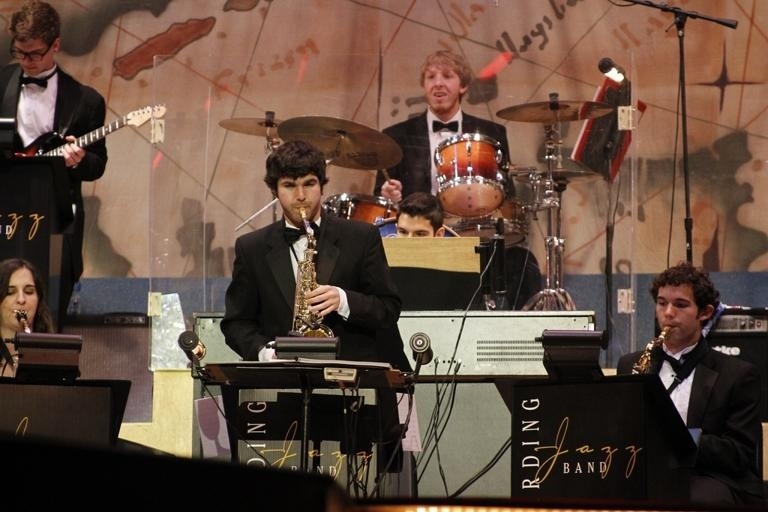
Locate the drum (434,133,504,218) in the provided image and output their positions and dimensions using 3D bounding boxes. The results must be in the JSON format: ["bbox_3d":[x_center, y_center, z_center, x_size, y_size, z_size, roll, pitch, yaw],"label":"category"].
[{"bbox_3d":[0.720,-0.588,9.447,0.622,0.578,0.633,-11,-39,16],"label":"drum"}]

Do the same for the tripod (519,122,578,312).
[{"bbox_3d":[1.323,-0.338,9.225,0.390,1.530,0.881,2,-3,8],"label":"tripod"}]

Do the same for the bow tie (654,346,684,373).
[{"bbox_3d":[1.861,0.686,7.705,0.138,0.160,0.120,-2,21,20],"label":"bow tie"}]

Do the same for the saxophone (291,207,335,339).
[{"bbox_3d":[-0.471,0.101,7.500,0.236,0.816,0.338,3,-3,-24],"label":"saxophone"}]

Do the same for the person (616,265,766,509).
[{"bbox_3d":[2.094,0.799,7.605,0.575,1.500,0.643,3,-3,-16],"label":"person"}]

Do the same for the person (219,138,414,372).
[{"bbox_3d":[-0.485,-0.037,7.547,1.128,1.427,0.495,3,-3,-9],"label":"person"}]

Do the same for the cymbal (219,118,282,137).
[{"bbox_3d":[-1.122,-1.072,9.552,0.298,0.131,0.575,1,-3,29],"label":"cymbal"}]

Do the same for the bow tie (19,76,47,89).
[{"bbox_3d":[-2.810,-1.380,9.253,0.202,0.085,0.168,3,-3,-15],"label":"bow tie"}]

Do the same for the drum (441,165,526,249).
[{"bbox_3d":[0.859,-0.353,9.279,0.488,0.455,0.479,9,-32,-17],"label":"drum"}]

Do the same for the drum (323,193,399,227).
[{"bbox_3d":[-0.200,-0.389,9.402,0.381,0.145,0.370,12,3,-1],"label":"drum"}]
